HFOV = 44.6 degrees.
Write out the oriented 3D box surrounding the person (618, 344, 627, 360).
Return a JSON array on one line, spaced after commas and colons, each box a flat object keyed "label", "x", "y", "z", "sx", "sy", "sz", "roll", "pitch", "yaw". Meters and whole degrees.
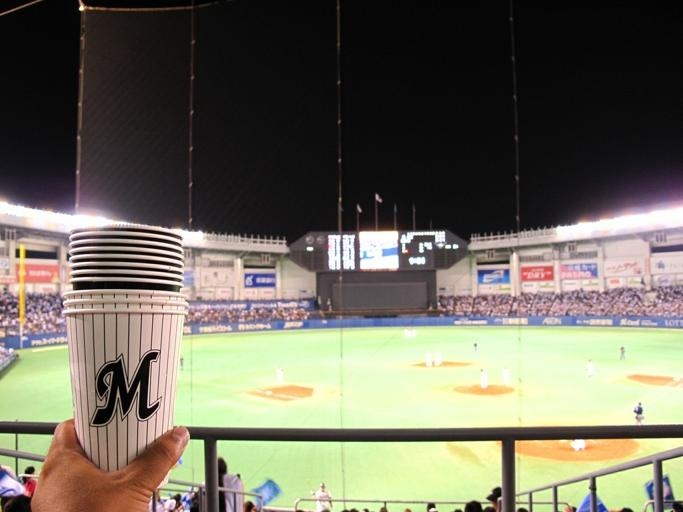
[{"label": "person", "x": 12.343, "y": 4.307, "z": 37.106, "sx": 0.447, "sy": 1.032, "sz": 0.300, "roll": -2, "pitch": -8, "yaw": 22}]
